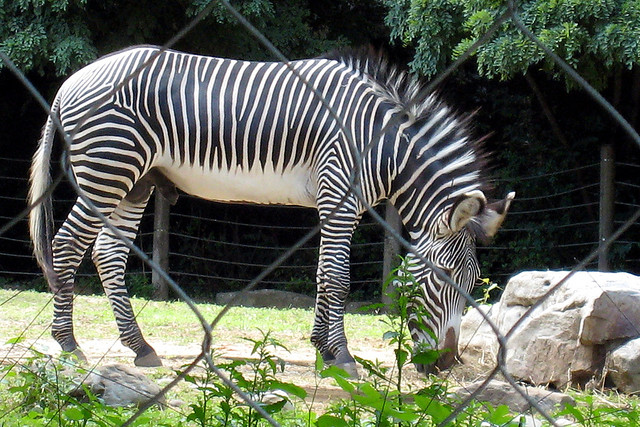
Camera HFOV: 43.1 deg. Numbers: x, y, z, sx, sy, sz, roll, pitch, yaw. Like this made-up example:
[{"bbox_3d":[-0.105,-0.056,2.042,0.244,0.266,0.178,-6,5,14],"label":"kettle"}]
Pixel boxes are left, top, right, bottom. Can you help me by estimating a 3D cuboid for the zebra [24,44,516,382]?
[{"bbox_3d":[-0.488,-0.036,6.245,3.575,2.488,2.543,5,7,15],"label":"zebra"}]
